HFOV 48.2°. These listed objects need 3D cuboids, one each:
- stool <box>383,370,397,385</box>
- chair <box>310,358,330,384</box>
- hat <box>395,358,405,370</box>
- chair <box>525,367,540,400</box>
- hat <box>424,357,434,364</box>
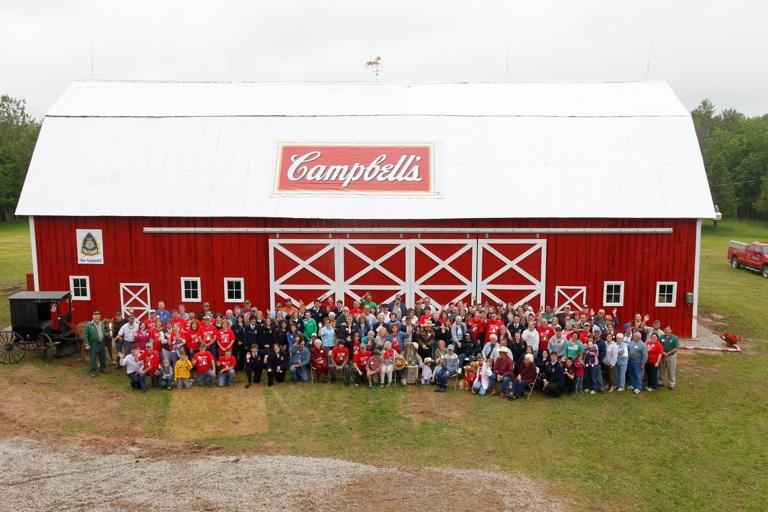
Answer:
[{"bbox_3d":[0.231,4.531,31.736,0.541,0.570,0.462,0,-6,4],"label":"stool"},{"bbox_3d":[-2.373,4.345,32.178,0.708,1.234,0.810,0,-7,-5],"label":"chair"},{"bbox_3d":[0.600,3.970,31.503,0.359,0.222,0.356,-32,56,-32],"label":"hat"},{"bbox_3d":[5.406,4.576,31.071,0.710,1.110,0.448,2,-3,-44],"label":"chair"},{"bbox_3d":[1.649,3.913,31.799,0.306,0.271,0.524,-1,-2,17],"label":"hat"}]
